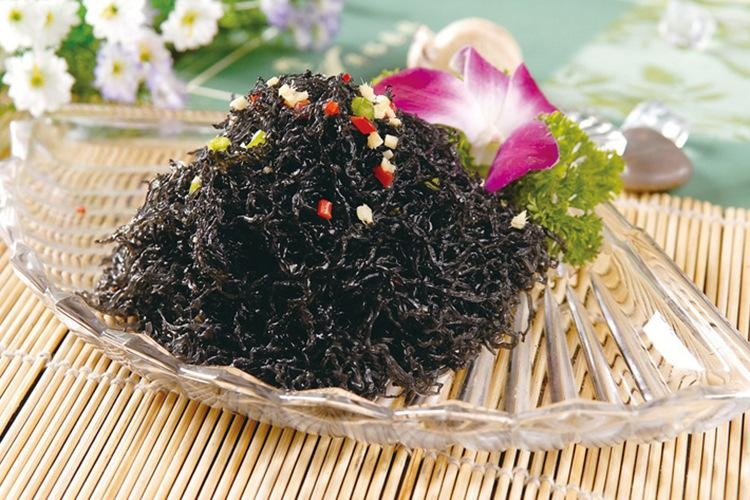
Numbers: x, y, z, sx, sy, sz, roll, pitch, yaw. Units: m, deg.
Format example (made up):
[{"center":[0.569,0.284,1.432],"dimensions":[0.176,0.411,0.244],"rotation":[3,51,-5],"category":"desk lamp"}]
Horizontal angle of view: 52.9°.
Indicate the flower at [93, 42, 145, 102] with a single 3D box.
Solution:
[{"center":[-1.519,-1.049,4.462],"dimensions":[0.113,0.281,0.292],"rotation":[8,5,44],"category":"flower"}]
